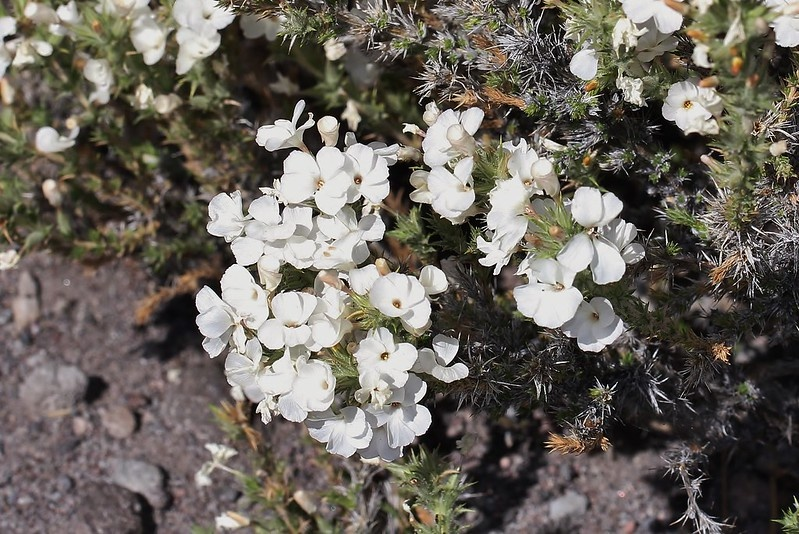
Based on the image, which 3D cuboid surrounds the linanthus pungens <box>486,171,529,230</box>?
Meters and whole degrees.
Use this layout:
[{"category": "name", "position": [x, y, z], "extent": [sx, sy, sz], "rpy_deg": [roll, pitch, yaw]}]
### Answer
[{"category": "linanthus pungens", "position": [0.366, -0.207, 2.848], "extent": [0.150, 0.076, 0.160], "rpy_deg": [17, 85, 36]}]

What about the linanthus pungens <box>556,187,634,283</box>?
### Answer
[{"category": "linanthus pungens", "position": [0.649, -0.085, 2.823], "extent": [0.227, 0.215, 0.268], "rpy_deg": [19, 59, 3]}]

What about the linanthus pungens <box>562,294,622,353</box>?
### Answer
[{"category": "linanthus pungens", "position": [0.640, 0.161, 2.858], "extent": [0.072, 0.161, 0.164], "rpy_deg": [11, 90, -30]}]

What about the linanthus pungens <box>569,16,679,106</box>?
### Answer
[{"category": "linanthus pungens", "position": [0.789, -0.731, 3.038], "extent": [0.283, 0.139, 0.319], "rpy_deg": [-4, 104, 10]}]

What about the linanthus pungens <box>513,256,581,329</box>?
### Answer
[{"category": "linanthus pungens", "position": [0.519, 0.074, 2.766], "extent": [0.098, 0.210, 0.219], "rpy_deg": [8, 79, -23]}]
